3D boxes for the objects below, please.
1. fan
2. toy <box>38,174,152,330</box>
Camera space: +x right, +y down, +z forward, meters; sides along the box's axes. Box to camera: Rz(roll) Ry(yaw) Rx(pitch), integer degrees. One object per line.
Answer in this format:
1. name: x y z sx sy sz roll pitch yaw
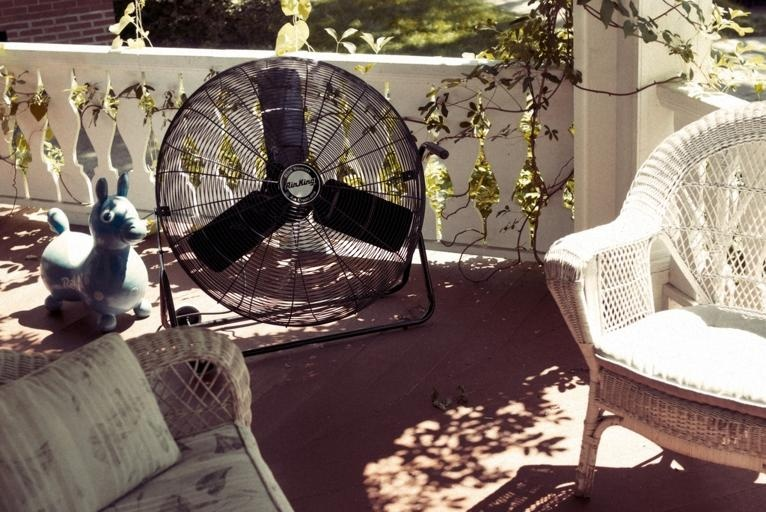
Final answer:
1. fan: -0.417 -0.245 3.566 1.462 1.521 0.542 -12 6 -19
2. toy: -1.647 -0.059 3.983 0.853 0.879 0.449 16 22 33
